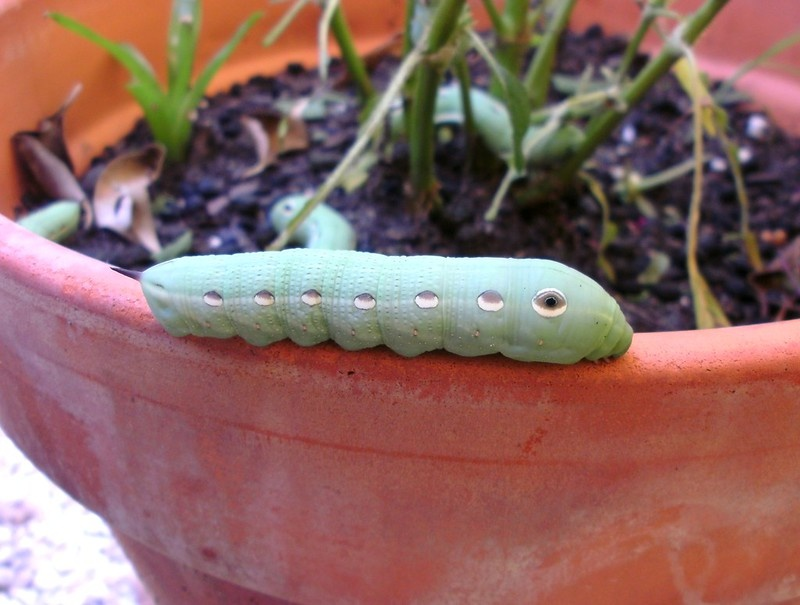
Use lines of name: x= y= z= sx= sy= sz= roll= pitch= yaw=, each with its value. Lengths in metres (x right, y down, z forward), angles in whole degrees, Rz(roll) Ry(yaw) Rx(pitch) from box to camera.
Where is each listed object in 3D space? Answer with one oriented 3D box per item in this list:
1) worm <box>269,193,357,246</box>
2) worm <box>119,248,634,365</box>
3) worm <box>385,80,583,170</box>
worm: x=-0.072 y=-0.071 z=0.796 sx=0.060 sy=0.025 sz=0.048 roll=29 pitch=50 yaw=20
worm: x=-0.022 y=0.004 z=0.579 sx=0.242 sy=0.062 sz=0.057 roll=3 pitch=18 yaw=6
worm: x=0.079 y=-0.154 z=0.761 sx=0.130 sy=0.039 sz=0.029 roll=26 pitch=82 yaw=4
